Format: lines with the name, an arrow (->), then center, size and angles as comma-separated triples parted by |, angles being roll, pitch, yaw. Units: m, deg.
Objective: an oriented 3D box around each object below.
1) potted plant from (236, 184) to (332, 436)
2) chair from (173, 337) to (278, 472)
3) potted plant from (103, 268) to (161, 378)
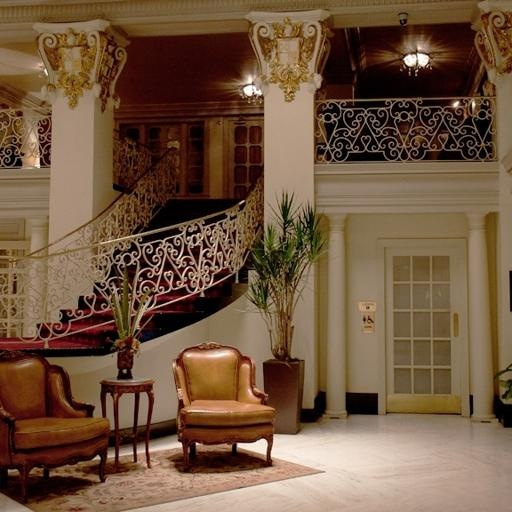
potted plant -> 0.253, 0.720, 6.844 | 0.859, 2.561, 0.843 | -1, -8, -27
chair -> -0.368, 1.380, 5.535 | 0.842, 1.129, 1.149 | 2, -12, -19
potted plant -> -1.129, 0.643, 5.176 | 0.346, 0.892, 0.353 | 0, -7, -11
